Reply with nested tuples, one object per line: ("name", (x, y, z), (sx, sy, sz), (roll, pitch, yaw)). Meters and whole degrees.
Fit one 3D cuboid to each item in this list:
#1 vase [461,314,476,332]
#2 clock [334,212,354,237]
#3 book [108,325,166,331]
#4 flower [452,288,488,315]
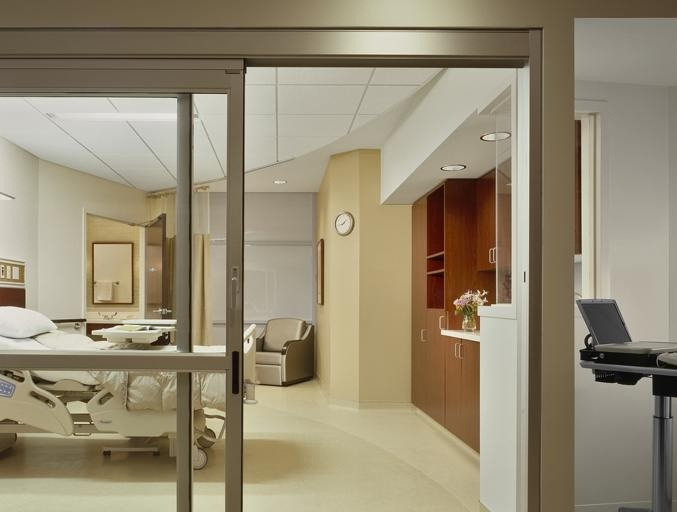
("vase", (1.084, 0.556, 4.845), (0.129, 0.125, 0.130), (1, -8, -3))
("clock", (0.052, -0.338, 6.211), (0.064, 0.274, 0.310), (0, 1, -33))
("book", (-0.949, 0.340, 2.762), (0.238, 0.030, 0.037), (0, 0, -16))
("flower", (1.085, 0.380, 4.877), (0.278, 0.197, 0.287), (-5, -2, 38))
